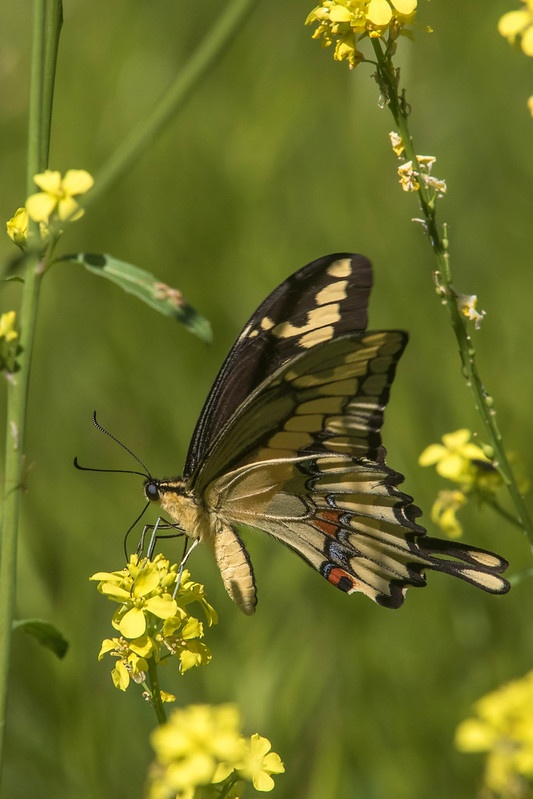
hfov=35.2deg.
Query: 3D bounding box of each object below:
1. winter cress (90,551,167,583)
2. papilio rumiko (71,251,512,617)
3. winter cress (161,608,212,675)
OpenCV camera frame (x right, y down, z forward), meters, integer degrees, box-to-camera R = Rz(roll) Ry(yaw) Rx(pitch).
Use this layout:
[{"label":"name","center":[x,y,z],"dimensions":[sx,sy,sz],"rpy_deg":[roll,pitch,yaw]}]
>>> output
[{"label":"winter cress","center":[-0.242,0.316,1.514],"dimensions":[0.083,0.089,0.118],"rpy_deg":[-7,17,-18]},{"label":"papilio rumiko","center":[0.092,0.099,2.076],"dimensions":[0.966,0.672,0.825],"rpy_deg":[3,-5,2]},{"label":"winter cress","center":[-0.141,0.428,1.475],"dimensions":[0.096,0.161,0.137],"rpy_deg":[1,16,-4]}]
